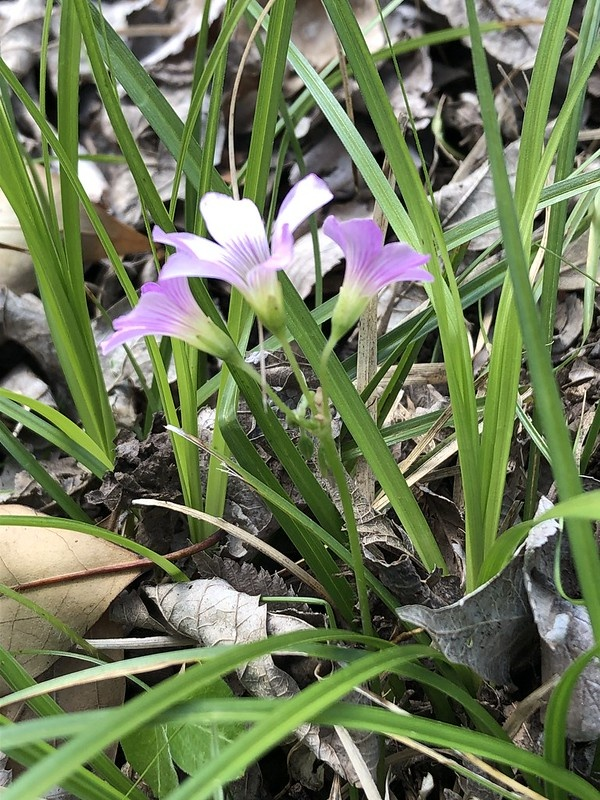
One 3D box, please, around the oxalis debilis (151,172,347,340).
[{"bbox_3d":[-0.026,-0.125,0.586,0.125,0.103,0.151,-2,38,24],"label":"oxalis debilis"}]
